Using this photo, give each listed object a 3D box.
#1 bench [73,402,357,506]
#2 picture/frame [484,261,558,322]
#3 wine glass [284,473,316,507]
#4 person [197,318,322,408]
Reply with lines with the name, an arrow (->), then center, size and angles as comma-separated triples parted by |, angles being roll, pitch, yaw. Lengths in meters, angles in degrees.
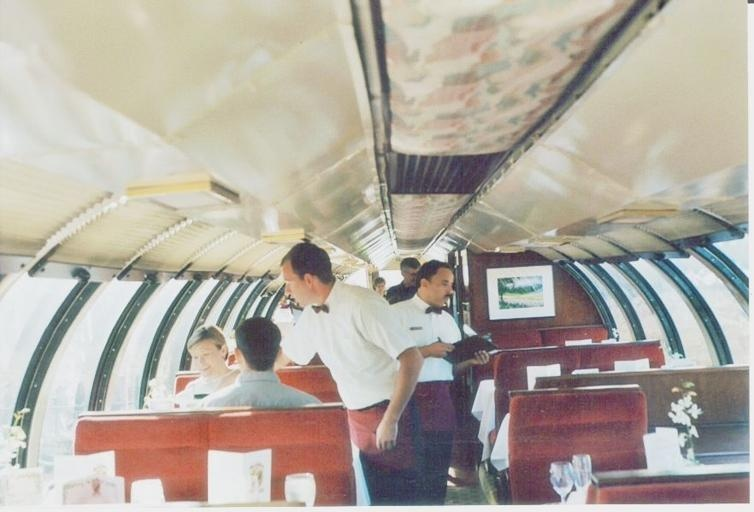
bench -> -1.036, 1.339, 3.856 | 1.745, 0.634, 0.227 | -4, -21, 2
picture/frame -> 1.834, 0.418, 7.399 | 0.764, 0.579, 0.027 | -6, -6, 33
wine glass -> -0.494, 1.500, 3.792 | 0.220, 0.196, 0.066 | -7, -21, 10
person -> -0.868, 0.875, 4.371 | 0.940, 0.752, 0.431 | 1, -35, -20
